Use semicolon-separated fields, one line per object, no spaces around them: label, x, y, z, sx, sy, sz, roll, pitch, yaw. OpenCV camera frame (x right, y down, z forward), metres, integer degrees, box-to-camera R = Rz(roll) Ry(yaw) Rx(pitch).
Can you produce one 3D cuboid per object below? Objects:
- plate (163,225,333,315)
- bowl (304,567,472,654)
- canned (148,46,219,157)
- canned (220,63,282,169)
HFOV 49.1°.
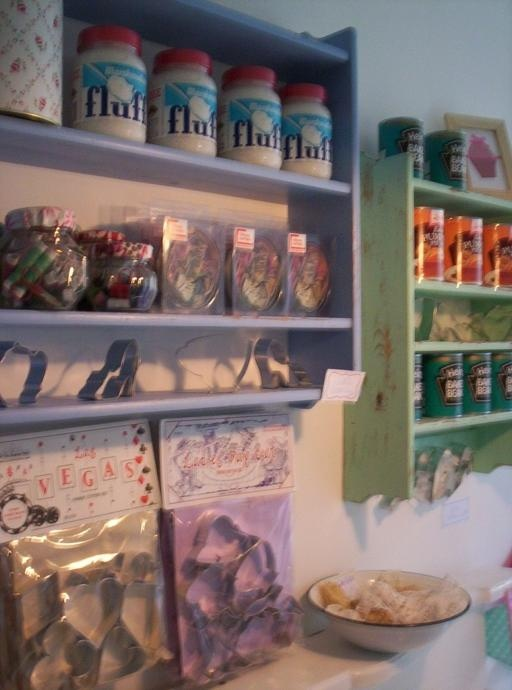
plate;0.046;-0.135;1.072;0.250;0.159;0.054;-3;3;-44
bowl;0.324;0.581;1.208;0.253;0.074;0.239;-3;0;0
canned;-0.127;-0.404;0.972;0.128;0.164;0.122;4;4;37
canned;-0.014;-0.412;1.044;0.112;0.171;0.121;3;6;41
